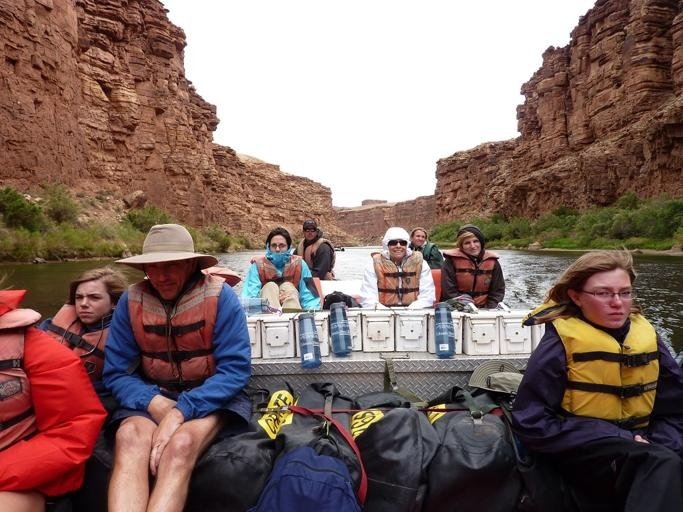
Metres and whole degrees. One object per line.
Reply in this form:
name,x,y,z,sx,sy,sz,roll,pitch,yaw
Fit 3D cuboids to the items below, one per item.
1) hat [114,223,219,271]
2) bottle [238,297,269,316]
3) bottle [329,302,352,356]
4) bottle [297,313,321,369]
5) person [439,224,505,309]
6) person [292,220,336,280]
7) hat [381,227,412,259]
hat,-1.454,-0.084,3.974,0.548,0.240,0.555,-6,-10,-1
bottle,-0.995,0.571,5.453,0.384,0.186,0.245,5,24,-6
bottle,-0.020,0.720,4.800,0.215,0.399,0.178,-2,-1,-1
bottle,-0.317,0.821,4.640,0.208,0.390,0.250,-2,-1,-6
person,1.764,0.125,6.457,0.836,1.017,0.482,-2,-1,6
person,-0.494,-0.154,9.321,1.111,1.377,1.081,1,5,-6
hat,0.695,-0.191,6.259,0.399,0.386,0.412,-1,-3,-2
